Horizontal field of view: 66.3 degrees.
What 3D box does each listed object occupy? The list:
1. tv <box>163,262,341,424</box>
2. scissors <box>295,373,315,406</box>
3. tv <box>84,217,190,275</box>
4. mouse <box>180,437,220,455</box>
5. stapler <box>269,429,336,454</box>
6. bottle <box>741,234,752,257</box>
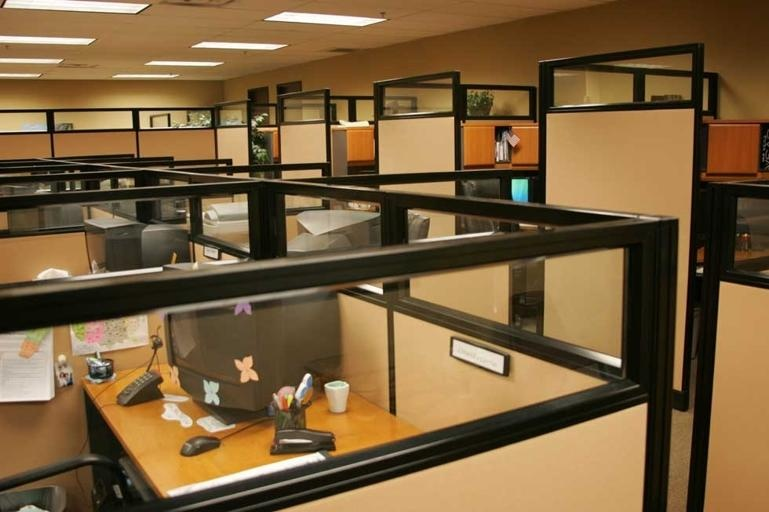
[{"bbox_3d":[-0.214,0.155,1.204,0.350,0.251,0.377,-6,2,-41],"label":"tv"},{"bbox_3d":[-0.155,0.260,1.142,0.031,0.053,0.029,19,-10,-31],"label":"scissors"},{"bbox_3d":[-1.181,-0.037,2.734,0.623,0.252,0.267,8,12,40],"label":"tv"},{"bbox_3d":[-0.351,0.357,1.117,0.064,0.018,0.030,-7,19,-32],"label":"mouse"},{"bbox_3d":[-0.153,0.345,1.087,0.147,0.049,0.042,0,2,-3],"label":"stapler"},{"bbox_3d":[1.246,-0.036,2.027,0.037,0.076,0.040,0,9,0],"label":"bottle"}]
